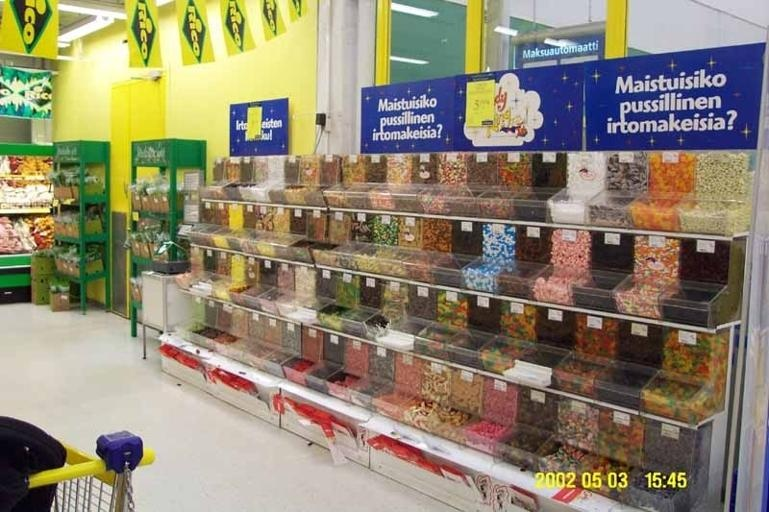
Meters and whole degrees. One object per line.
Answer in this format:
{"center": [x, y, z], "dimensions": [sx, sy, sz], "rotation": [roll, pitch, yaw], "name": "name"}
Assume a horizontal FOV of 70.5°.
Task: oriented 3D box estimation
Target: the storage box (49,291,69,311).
{"center": [-5.691, 0.784, 9.542], "dimensions": [0.312, 0.305, 0.310], "rotation": [0, 2, -26], "name": "storage box"}

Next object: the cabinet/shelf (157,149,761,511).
{"center": [0.423, 0.341, 4.682], "dimensions": [4.511, 2.505, 0.970], "rotation": [7, 12, 29], "name": "cabinet/shelf"}

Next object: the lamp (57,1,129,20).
{"center": [-3.854, -3.265, 7.103], "dimensions": [0.305, 0.126, 0.847], "rotation": [9, 14, 37], "name": "lamp"}
